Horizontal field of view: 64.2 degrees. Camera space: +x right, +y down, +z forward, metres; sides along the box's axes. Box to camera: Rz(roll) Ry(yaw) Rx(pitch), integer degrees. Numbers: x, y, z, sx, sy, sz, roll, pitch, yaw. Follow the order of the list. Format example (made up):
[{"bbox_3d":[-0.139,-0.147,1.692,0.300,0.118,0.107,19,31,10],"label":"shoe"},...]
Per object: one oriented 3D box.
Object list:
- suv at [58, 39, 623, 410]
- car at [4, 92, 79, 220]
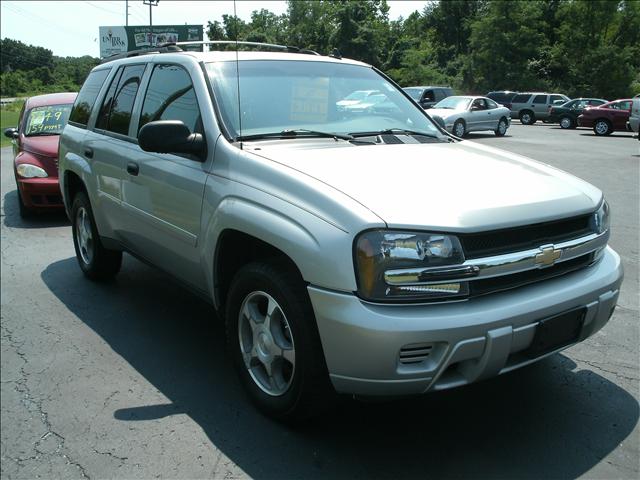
[{"bbox_3d":[-0.333,-0.304,4.126,2.358,1.921,4.342,-10,19,-36],"label":"suv"},{"bbox_3d":[-5.200,-1.677,9.154,1.576,1.683,3.014,-3,12,-24],"label":"car"}]
